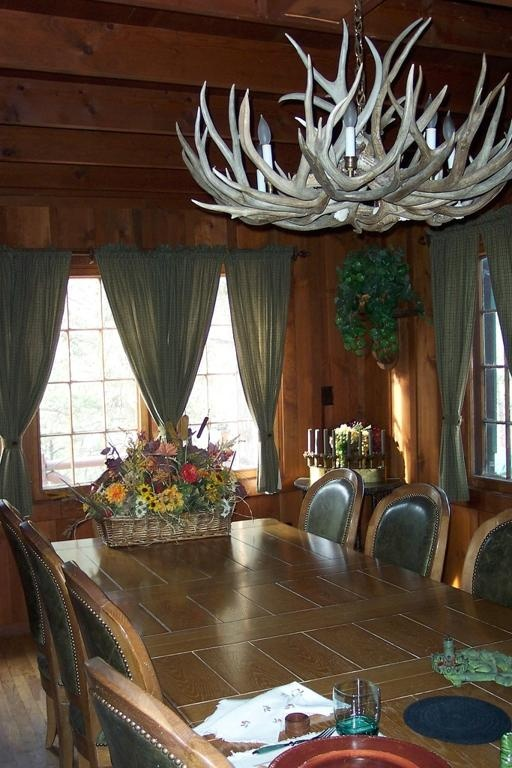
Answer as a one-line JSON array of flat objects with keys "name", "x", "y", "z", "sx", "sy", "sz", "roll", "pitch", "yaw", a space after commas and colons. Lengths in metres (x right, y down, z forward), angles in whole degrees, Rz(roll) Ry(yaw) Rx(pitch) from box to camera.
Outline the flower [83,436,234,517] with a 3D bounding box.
[{"name": "flower", "x": -0.402, "y": 0.419, "z": 3.003, "sx": 0.712, "sy": 0.356, "sz": 0.558, "roll": 0, "pitch": 6, "yaw": 0}]

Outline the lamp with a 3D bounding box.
[{"name": "lamp", "x": 0.300, "y": -0.964, "z": 2.154, "sx": 1.056, "sy": 0.604, "sz": 1.054, "roll": -6, "pitch": 10, "yaw": -7}]

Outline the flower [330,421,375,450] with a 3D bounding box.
[{"name": "flower", "x": 0.692, "y": 0.362, "z": 4.409, "sx": 0.203, "sy": 0.130, "sz": 0.202, "roll": 2, "pitch": 0, "yaw": 18}]
